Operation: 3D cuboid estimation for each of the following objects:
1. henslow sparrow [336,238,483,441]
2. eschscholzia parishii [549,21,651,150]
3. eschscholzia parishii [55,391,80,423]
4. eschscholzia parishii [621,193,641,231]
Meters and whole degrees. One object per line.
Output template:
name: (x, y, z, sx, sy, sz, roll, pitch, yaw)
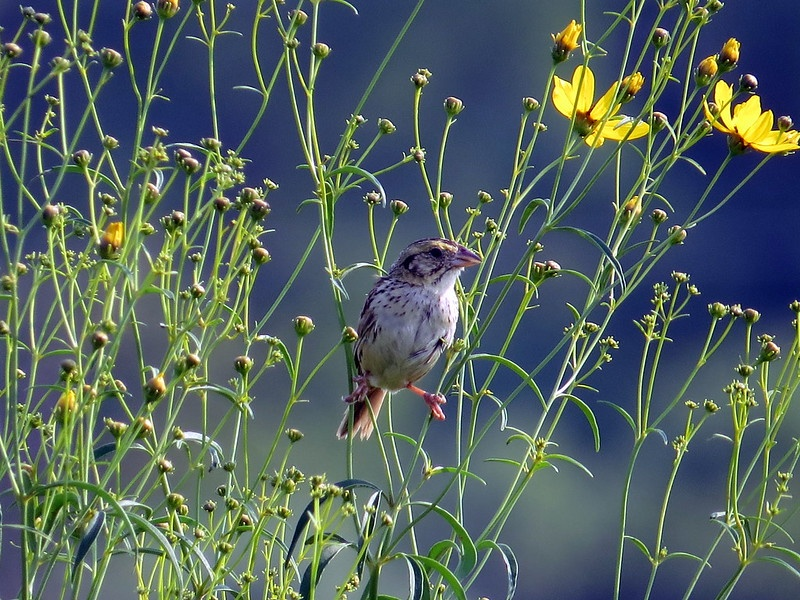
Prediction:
henslow sparrow: (0.044, 0.077, 4.335, 0.412, 0.839, 0.642, 3, -5, 11)
eschscholzia parishii: (0.606, -0.595, 3.564, 0.205, 0.497, 0.228, -8, 14, -28)
eschscholzia parishii: (-0.903, 0.295, 3.160, 0.030, 0.035, 0.089, 19, 8, -10)
eschscholzia parishii: (0.727, -0.270, 3.634, 0.053, 0.123, 0.152, 4, -27, 14)
